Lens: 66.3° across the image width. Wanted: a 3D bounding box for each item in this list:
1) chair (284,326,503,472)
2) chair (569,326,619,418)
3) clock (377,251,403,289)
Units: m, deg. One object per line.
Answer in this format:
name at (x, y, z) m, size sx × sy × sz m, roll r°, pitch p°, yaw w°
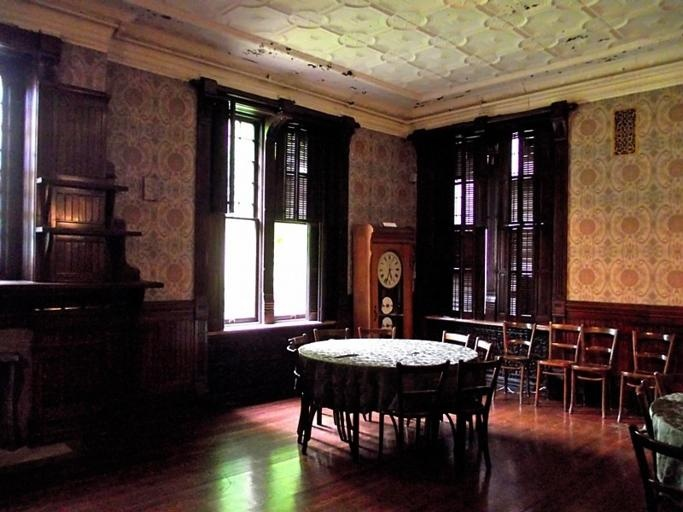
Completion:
chair at (0.531, 1.489, 5.540) m, size 2.146 × 1.114 × 1.306 m, roll 3°, pitch 4°, yaw 17°
chair at (3.320, 1.500, 6.899) m, size 0.538 × 1.081 × 0.789 m, roll 3°, pitch 5°, yaw 29°
clock at (0.739, 0.229, 8.271) m, size 0.505 × 0.648 × 0.065 m, roll -6°, pitch 8°, yaw -39°
